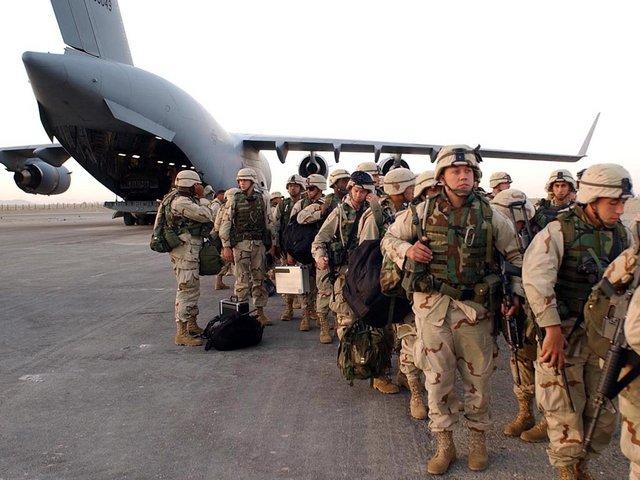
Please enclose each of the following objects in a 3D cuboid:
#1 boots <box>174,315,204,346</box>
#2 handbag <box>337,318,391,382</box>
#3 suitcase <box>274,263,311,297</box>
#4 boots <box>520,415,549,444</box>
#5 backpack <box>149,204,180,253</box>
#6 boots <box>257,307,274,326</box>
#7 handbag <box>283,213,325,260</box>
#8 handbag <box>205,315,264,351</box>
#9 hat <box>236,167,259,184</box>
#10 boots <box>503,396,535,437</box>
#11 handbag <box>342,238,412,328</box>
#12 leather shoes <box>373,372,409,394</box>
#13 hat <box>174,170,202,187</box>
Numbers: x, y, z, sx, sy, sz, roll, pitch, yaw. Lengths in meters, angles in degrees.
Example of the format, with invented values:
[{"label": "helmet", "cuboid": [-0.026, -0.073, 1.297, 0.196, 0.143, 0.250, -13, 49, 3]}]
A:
[{"label": "boots", "cuboid": [-1.668, 1.117, 5.906, 0.331, 0.365, 0.375, -1, -2, 1]}, {"label": "handbag", "cuboid": [0.373, 1.120, 4.639, 0.459, 0.605, 0.614, 1, -15, 3]}, {"label": "suitcase", "cuboid": [-0.347, 0.508, 6.075, 0.529, 0.476, 0.192, -1, 1, 26]}, {"label": "boots", "cuboid": [1.747, 1.564, 3.804, 0.317, 0.193, 0.103, 9, -9, -39]}, {"label": "backpack", "cuboid": [-1.972, -0.145, 5.864, 0.334, 0.622, 0.384, -2, 9, -19]}, {"label": "boots", "cuboid": [-0.829, 1.116, 6.817, 0.338, 0.313, 0.157, -2, 1, 3]}, {"label": "handbag", "cuboid": [-0.200, -0.051, 6.102, 0.389, 0.687, 0.498, 10, -18, -37]}, {"label": "handbag", "cuboid": [-1.044, 1.108, 5.676, 0.418, 0.262, 0.577, 1, 1, 41]}, {"label": "hat", "cuboid": [-1.031, -0.913, 6.567, 0.248, 0.200, 0.318, 4, 13, 22]}, {"label": "boots", "cuboid": [1.671, 1.456, 3.870, 0.308, 0.271, 0.108, -11, 11, -27]}, {"label": "handbag", "cuboid": [0.511, 0.379, 4.023, 0.388, 0.685, 0.500, 22, -51, -27]}, {"label": "leather shoes", "cuboid": [0.718, 1.412, 4.641, 0.376, 0.254, 0.147, -7, -5, 38]}, {"label": "hat", "cuboid": [-1.740, -0.820, 6.091, 0.223, 0.217, 0.285, 9, 23, 41]}]
